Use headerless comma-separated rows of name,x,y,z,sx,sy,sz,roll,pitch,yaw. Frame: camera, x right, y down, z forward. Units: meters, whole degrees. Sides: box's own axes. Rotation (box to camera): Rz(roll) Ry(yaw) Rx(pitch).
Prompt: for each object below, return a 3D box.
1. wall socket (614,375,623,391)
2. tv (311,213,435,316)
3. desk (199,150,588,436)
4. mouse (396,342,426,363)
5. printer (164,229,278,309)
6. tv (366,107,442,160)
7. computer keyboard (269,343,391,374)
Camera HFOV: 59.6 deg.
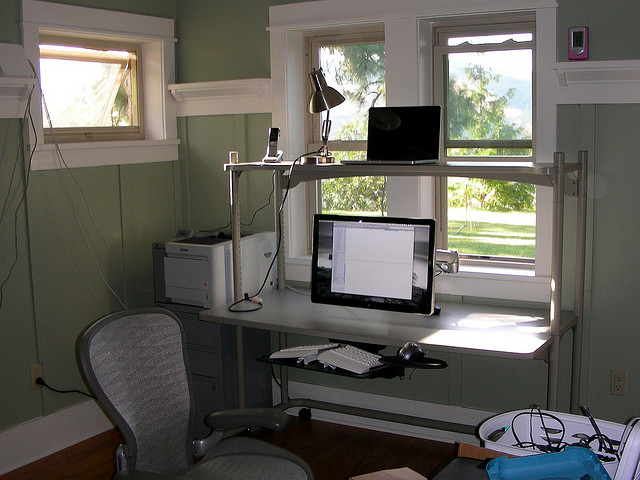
wall socket,1.532,0.736,2.872,0.036,0.082,0.008,4,9,26
tv,0.275,0.125,2.853,0.461,0.367,0.040,6,2,19
desk,0.401,0.186,2.905,1.770,1.308,0.946,5,10,29
mouse,0.398,0.499,2.510,0.075,0.045,0.110,-2,-1,-8
printer,-0.580,0.117,3.385,0.448,0.386,0.497,2,6,36
tv,0.453,-0.509,2.750,0.420,0.311,0.317,-4,9,-15
computer keyboard,0.058,0.580,2.798,0.606,0.074,0.248,6,10,30
